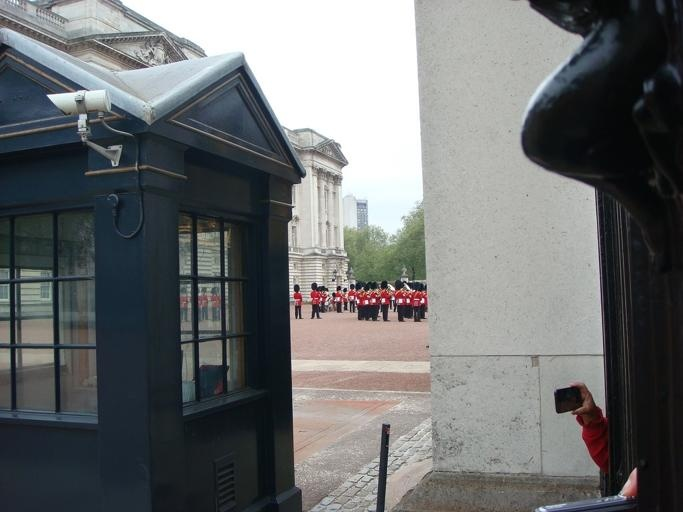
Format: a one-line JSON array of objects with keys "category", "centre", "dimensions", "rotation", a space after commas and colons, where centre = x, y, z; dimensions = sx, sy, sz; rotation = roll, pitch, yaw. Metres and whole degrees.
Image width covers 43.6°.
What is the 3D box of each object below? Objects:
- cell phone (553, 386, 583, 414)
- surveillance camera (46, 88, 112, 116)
[{"category": "cell phone", "centre": [1.007, 0.635, 3.752], "dimensions": [0.094, 0.121, 0.303], "rotation": [-3, -5, 23]}, {"category": "surveillance camera", "centre": [-1.310, -0.774, 4.291], "dimensions": [0.304, 0.106, 0.104], "rotation": [-2, -5, 2]}]
